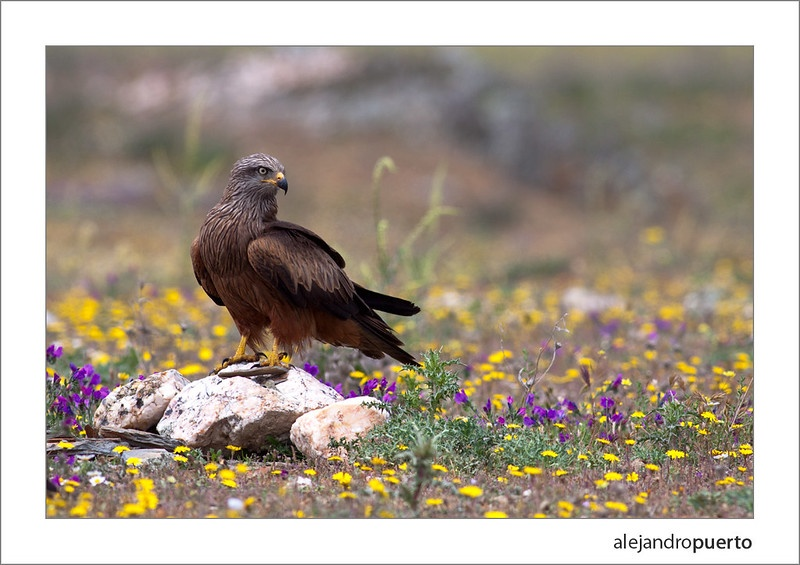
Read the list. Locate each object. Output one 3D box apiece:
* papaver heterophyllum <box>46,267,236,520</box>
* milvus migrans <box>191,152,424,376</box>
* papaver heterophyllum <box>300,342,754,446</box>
[{"bbox_3d":[-2.664,1.048,9.852,1.449,2.515,1.440,0,7,33],"label":"papaver heterophyllum"},{"bbox_3d":[-0.988,-0.065,9.944,1.687,2.093,1.706,0,-1,39],"label":"milvus migrans"},{"bbox_3d":[1.320,1.000,9.436,3.507,0.976,1.361,-3,3,-2],"label":"papaver heterophyllum"}]
